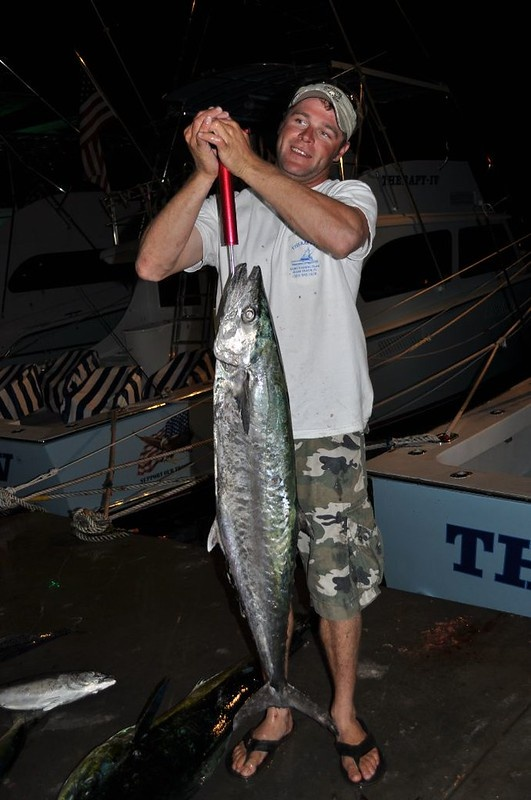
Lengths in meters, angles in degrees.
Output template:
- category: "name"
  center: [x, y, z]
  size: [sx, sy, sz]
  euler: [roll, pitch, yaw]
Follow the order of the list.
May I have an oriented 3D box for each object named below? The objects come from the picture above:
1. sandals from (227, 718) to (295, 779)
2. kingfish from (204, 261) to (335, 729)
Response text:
- category: "sandals"
  center: [-0.016, 1.016, 1.742]
  size: [0.121, 0.071, 0.301]
  euler: [3, 4, 27]
- category: "kingfish"
  center: [-0.022, 0.305, 1.457]
  size: [0.219, 1.242, 0.272]
  euler: [3, 11, 39]
